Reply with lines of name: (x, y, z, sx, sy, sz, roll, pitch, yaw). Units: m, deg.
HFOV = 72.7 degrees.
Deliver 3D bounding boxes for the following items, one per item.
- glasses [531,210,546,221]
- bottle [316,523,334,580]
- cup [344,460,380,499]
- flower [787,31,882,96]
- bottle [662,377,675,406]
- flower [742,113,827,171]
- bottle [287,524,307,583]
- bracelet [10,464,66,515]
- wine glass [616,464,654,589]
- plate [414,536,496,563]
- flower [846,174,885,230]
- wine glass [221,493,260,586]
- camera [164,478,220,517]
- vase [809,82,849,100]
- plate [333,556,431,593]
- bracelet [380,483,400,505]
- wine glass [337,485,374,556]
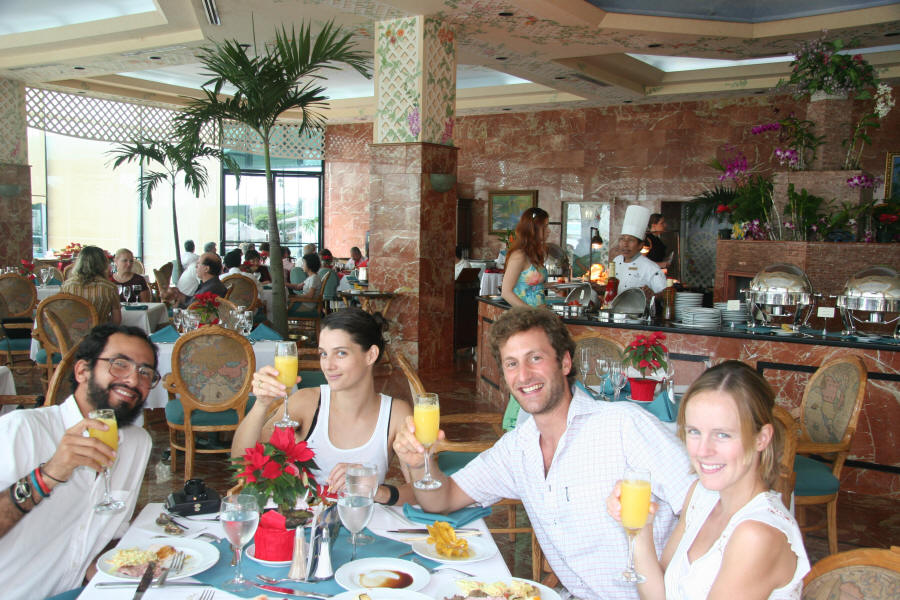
glasses: (0.776, -0.726, 5.352, 0.088, 0.101, 0.112, 6, 17, 27)
bottle: (-0.393, 0.785, 1.901, 0.060, 0.154, 0.042, -4, 6, -28)
cup: (-0.278, 0.579, 1.972, 0.120, 0.101, 0.107, 3, -10, -7)
flower: (3.752, -2.285, 5.987, 0.700, 0.542, 0.302, 2, 6, 31)
bottle: (1.225, 0.508, 3.419, 0.067, 0.167, 0.133, 0, -10, 13)
flower: (4.221, -1.860, 7.438, 0.560, 0.396, 0.656, -5, -1, -36)
bottle: (-0.466, 0.777, 1.906, 0.057, 0.160, 0.080, 0, 5, 12)
bracelet: (-1.380, 0.631, 2.027, 0.145, 0.077, 0.173, -39, -1, -25)
wine glass: (0.560, 0.683, 1.840, 0.096, 0.374, 0.134, 2, 6, 28)
plate: (0.016, 0.840, 2.059, 0.286, 0.030, 0.150, -2, 4, -11)
flower: (4.550, -1.070, 6.756, 0.284, 0.618, 0.712, 2, 6, 32)
wine glass: (-0.651, 0.712, 1.895, 0.101, 0.281, 0.252, -3, 5, -21)
camera: (-0.968, 0.744, 2.303, 0.211, 0.128, 0.117, 5, -11, -41)
vase: (3.949, -2.155, 6.352, 0.381, 0.161, 0.363, -8, 8, -25)
plate: (-0.209, 0.853, 1.900, 0.288, 0.043, 0.153, -1, 4, -6)
bracelet: (-0.223, 0.761, 2.381, 0.058, 0.070, 0.075, 6, -13, -40)
wine glass: (-0.313, 0.718, 2.009, 0.106, 0.248, 0.246, -2, 5, -11)
